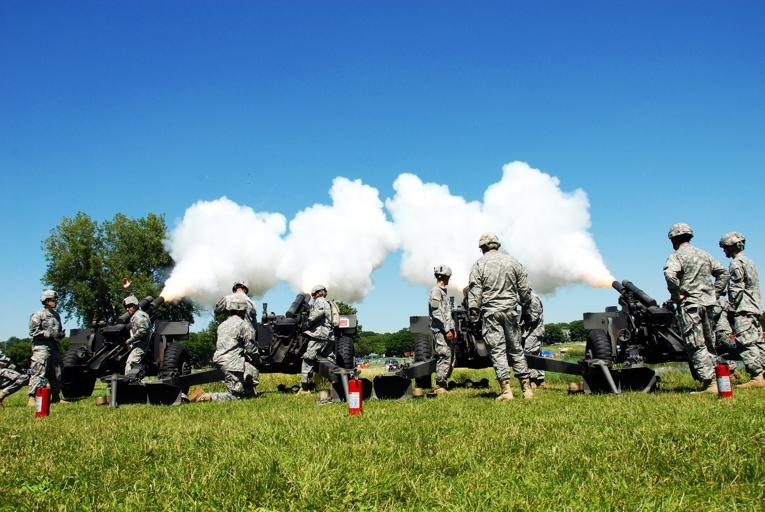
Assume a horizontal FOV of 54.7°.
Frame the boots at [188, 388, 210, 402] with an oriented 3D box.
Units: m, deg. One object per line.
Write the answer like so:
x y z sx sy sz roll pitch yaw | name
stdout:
-3.173 2.424 12.890 0.287 0.158 0.369 0 -7 -1 | boots

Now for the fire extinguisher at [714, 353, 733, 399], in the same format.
4.782 1.744 10.390 0.187 0.498 0.461 -9 -16 21 | fire extinguisher

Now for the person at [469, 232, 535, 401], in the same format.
1.988 0.940 12.027 1.180 2.812 0.673 7 -18 -35 | person

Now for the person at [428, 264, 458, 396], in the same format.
1.085 1.317 13.507 0.472 2.469 1.154 -4 -15 3 | person

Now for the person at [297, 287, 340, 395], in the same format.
-1.249 1.721 14.471 0.757 1.880 0.943 -4 -15 1 | person

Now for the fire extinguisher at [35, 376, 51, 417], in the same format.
-5.256 2.256 11.451 0.190 0.455 0.283 4 -17 -25 | fire extinguisher

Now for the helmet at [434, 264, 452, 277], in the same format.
0.974 0.256 12.055 0.312 0.219 0.441 3 3 23 | helmet
